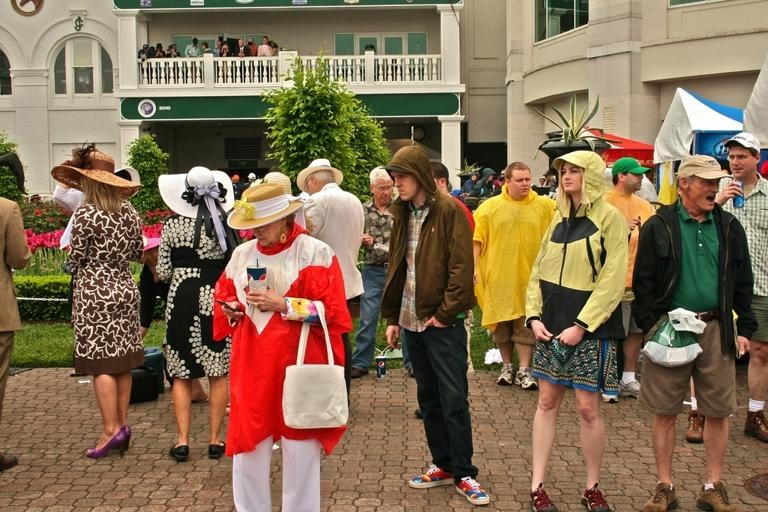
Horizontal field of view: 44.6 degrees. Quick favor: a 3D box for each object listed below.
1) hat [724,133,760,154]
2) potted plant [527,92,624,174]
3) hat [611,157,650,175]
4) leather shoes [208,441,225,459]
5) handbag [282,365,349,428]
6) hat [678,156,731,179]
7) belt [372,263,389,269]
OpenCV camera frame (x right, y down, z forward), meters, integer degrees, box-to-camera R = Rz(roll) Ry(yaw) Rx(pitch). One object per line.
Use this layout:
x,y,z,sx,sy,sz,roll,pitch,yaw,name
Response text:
4.234,-1.322,10.925,0.404,0.155,0.257,5,0,-44,hat
2.994,-1.870,15.350,1.244,1.159,1.259,-2,8,-3,potted plant
3.173,-1.164,12.215,0.361,0.182,0.240,4,12,24,hat
-1.914,2.202,10.628,0.110,0.111,0.286,1,4,-5,leather shoes
-0.679,1.352,8.999,0.625,0.577,0.242,0,4,-4,handbag
3.297,-0.898,9.773,0.373,0.190,0.287,0,4,24,hat
-0.051,0.134,12.735,0.100,0.050,0.129,0,4,-33,belt
